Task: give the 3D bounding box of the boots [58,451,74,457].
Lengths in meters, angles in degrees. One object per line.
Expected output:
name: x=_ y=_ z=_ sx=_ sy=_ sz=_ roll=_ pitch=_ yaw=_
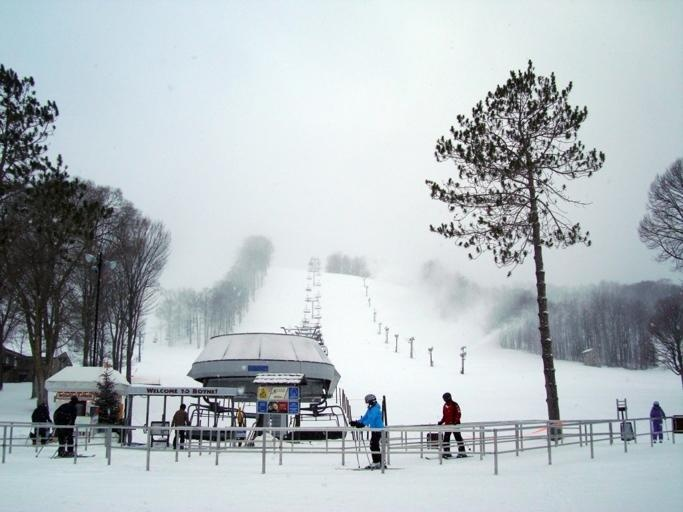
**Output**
boots: x=-9.885 y=7.196 z=24.314 sx=0.385 sy=0.175 sz=0.291 roll=-2 pitch=-10 yaw=0
